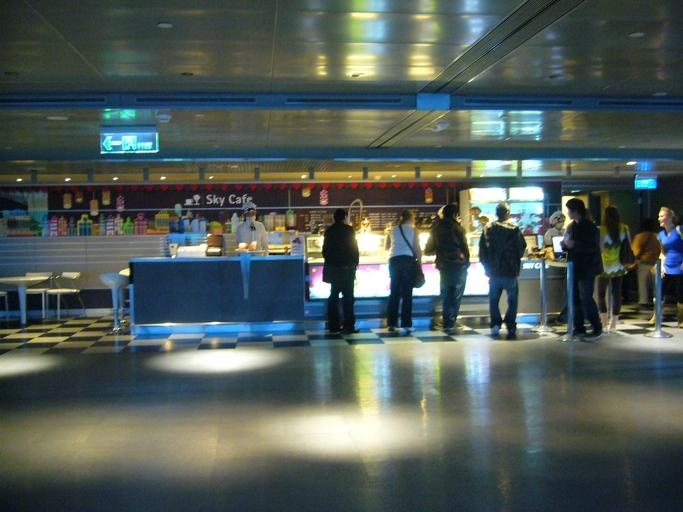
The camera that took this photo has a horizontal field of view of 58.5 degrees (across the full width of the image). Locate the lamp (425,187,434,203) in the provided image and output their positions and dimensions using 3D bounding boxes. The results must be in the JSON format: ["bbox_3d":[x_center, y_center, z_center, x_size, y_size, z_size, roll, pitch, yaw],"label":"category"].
[{"bbox_3d":[2.127,-1.466,14.702,0.265,0.385,0.151,-3,6,-21],"label":"lamp"}]

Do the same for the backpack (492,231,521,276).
[{"bbox_3d":[2.395,-0.051,8.713,0.422,0.666,0.133,0,6,10],"label":"backpack"}]

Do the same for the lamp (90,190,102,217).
[{"bbox_3d":[-5.544,-1.178,13.710,0.183,0.553,0.217,-5,8,-21],"label":"lamp"}]

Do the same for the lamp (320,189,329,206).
[{"bbox_3d":[-0.428,-1.385,14.350,0.250,0.332,0.085,-2,4,-5],"label":"lamp"}]

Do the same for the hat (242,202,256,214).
[{"bbox_3d":[-1.555,-0.787,9.829,0.278,0.134,0.199,-14,-4,38],"label":"hat"}]

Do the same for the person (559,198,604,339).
[{"bbox_3d":[3.296,0.152,8.338,0.538,1.890,0.717,1,6,19],"label":"person"}]

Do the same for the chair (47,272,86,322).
[{"bbox_3d":[-5.548,0.748,12.208,0.753,0.807,0.705,-3,6,-22],"label":"chair"}]

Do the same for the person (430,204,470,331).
[{"bbox_3d":[1.652,0.152,9.294,0.518,1.865,0.561,-4,7,-28],"label":"person"}]

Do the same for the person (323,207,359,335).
[{"bbox_3d":[-0.021,0.223,9.172,0.524,1.828,0.434,-2,6,-1],"label":"person"}]

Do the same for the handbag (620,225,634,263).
[{"bbox_3d":[4.064,-0.161,8.653,0.154,0.535,0.272,2,7,33],"label":"handbag"}]

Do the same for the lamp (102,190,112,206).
[{"bbox_3d":[-5.317,-1.313,13.702,0.223,0.343,0.137,-2,6,-10],"label":"lamp"}]

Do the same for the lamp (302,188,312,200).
[{"bbox_3d":[-0.837,-1.492,14.269,0.228,0.234,0.052,-2,6,-12],"label":"lamp"}]

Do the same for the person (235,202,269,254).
[{"bbox_3d":[-1.492,-0.499,10.108,0.492,0.795,1.314,-2,5,-7],"label":"person"}]

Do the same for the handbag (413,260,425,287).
[{"bbox_3d":[1.165,0.254,9.277,0.154,0.420,0.286,-1,6,6],"label":"handbag"}]

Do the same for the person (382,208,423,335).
[{"bbox_3d":[0.948,0.211,9.215,0.545,1.786,0.478,-1,6,3],"label":"person"}]
